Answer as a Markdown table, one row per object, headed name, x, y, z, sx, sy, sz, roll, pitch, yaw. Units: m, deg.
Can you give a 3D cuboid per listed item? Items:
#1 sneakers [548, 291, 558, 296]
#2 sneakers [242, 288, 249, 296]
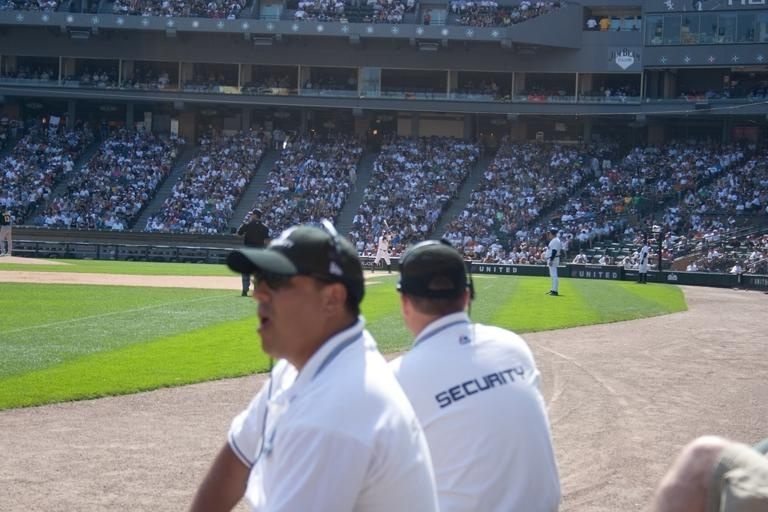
| name | x | y | z | sx | sy | sz | roll | pitch | yaw |
| --- | --- | --- | --- | --- | --- | --- | --- | --- | --- |
| sneakers | 7.798 | 1.698 | 48.528 | 0.412 | 0.185 | 0.156 | 5 | -1 | -1 |
| sneakers | -5.765 | 1.520 | 44.492 | 0.236 | 0.455 | 0.244 | 2 | -20 | -4 |
